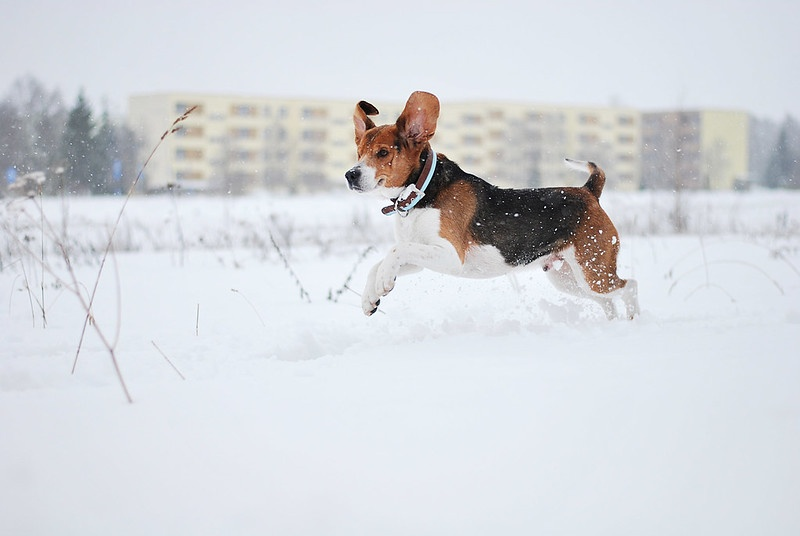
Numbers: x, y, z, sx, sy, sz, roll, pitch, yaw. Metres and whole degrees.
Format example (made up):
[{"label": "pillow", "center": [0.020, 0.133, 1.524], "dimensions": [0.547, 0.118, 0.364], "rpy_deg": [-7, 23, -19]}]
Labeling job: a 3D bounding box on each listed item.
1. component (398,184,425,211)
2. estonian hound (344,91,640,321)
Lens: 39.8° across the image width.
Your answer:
[{"label": "component", "center": [0.100, -0.733, 11.639], "dimensions": [0.099, 0.279, 0.220], "rpy_deg": [38, 5, 7]}, {"label": "estonian hound", "center": [1.113, -0.580, 12.130], "dimensions": [3.265, 2.488, 1.095], "rpy_deg": [4, -4, -18]}]
